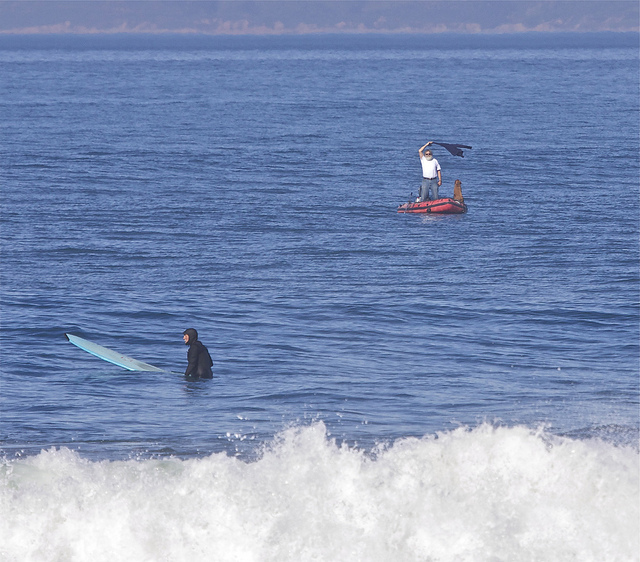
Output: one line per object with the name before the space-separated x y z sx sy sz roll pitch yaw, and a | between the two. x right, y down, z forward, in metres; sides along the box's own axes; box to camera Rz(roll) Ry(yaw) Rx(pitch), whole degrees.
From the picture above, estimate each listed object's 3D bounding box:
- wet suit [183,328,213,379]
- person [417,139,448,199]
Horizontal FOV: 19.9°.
wet suit | -4.605 2.662 68.156 1.011 1.080 2.095 -2 62 -1
person | 4.853 -4.688 81.799 1.129 2.962 0.875 0 -1 0
